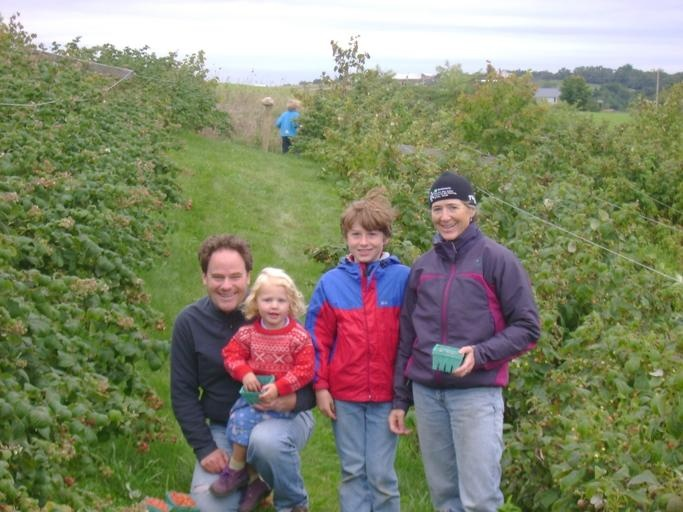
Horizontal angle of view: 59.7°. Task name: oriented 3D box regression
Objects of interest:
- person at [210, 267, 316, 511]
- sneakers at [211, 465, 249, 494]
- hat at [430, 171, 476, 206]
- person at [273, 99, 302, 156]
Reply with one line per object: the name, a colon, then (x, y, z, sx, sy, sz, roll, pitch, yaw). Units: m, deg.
person: (-0.526, 0.933, 4.012, 0.665, 1.708, 0.343, 2, 10, -3)
sneakers: (-0.757, 1.502, 4.038, 0.103, 0.132, 0.267, 36, 36, 26)
hat: (0.721, -0.434, 3.985, 0.228, 0.209, 0.249, 1, -9, 4)
person: (-1.651, -3.968, 18.317, 0.654, 1.616, 1.253, 0, 11, -15)
